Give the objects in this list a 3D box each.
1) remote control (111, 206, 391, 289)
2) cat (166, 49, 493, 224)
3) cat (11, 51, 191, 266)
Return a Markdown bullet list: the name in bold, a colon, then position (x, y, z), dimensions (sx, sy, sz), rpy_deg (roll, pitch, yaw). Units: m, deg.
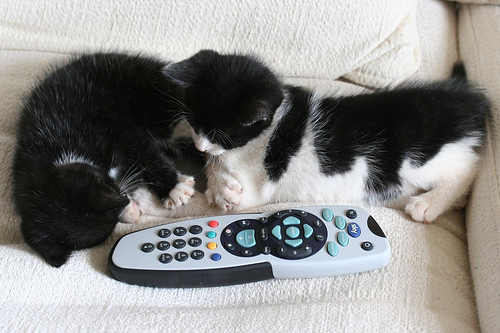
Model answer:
- **remote control**: position (0.001, 0.172, 1.123), dimensions (0.599, 0.062, 0.167), rpy_deg (-3, 74, -4)
- **cat**: position (0.244, -0.158, 1.463), dimensions (0.979, 0.558, 0.361), rpy_deg (0, 35, -3)
- **cat**: position (-0.409, -0.044, 1.279), dimensions (0.387, 0.175, 0.541), rpy_deg (0, 65, -10)
